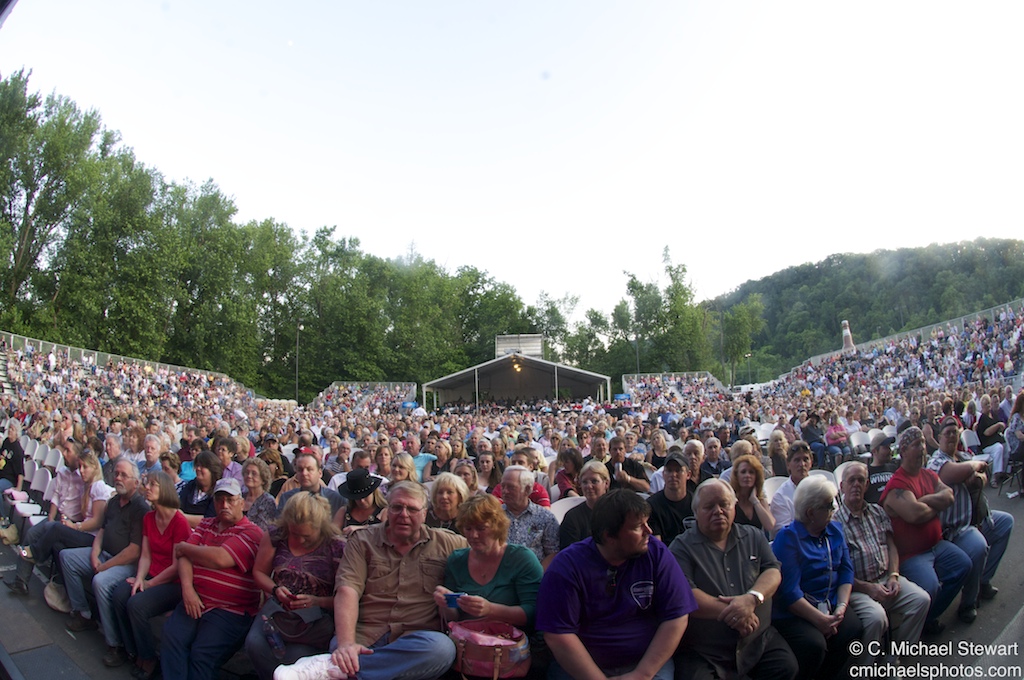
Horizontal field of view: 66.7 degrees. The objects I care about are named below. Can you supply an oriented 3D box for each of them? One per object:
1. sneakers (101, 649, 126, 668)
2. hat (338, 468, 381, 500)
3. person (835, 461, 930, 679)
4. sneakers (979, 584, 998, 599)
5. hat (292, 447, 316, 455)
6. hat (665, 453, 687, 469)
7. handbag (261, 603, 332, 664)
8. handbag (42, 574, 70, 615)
[{"bbox_3d":[-4.513,3.613,8.854,0.330,0.179,0.184,-8,-13,32],"label":"sneakers"},{"bbox_3d":[-1.770,1.730,9.175,0.392,0.178,0.440,8,23,34],"label":"hat"},{"bbox_3d":[3.918,2.512,8.462,0.976,2.062,1.161,-16,20,-31],"label":"person"},{"bbox_3d":[5.537,2.949,9.102,0.212,0.175,0.090,2,-11,-14],"label":"sneakers"},{"bbox_3d":[-2.680,1.463,10.224,0.296,0.138,0.483,2,-4,-17],"label":"hat"},{"bbox_3d":[1.857,1.386,8.915,0.234,0.184,0.340,-3,-12,11],"label":"hat"},{"bbox_3d":[-2.193,3.029,8.049,0.613,0.490,0.452,5,-8,-13],"label":"handbag"},{"bbox_3d":[-5.700,3.215,9.810,0.403,0.467,0.245,-15,12,44],"label":"handbag"}]
